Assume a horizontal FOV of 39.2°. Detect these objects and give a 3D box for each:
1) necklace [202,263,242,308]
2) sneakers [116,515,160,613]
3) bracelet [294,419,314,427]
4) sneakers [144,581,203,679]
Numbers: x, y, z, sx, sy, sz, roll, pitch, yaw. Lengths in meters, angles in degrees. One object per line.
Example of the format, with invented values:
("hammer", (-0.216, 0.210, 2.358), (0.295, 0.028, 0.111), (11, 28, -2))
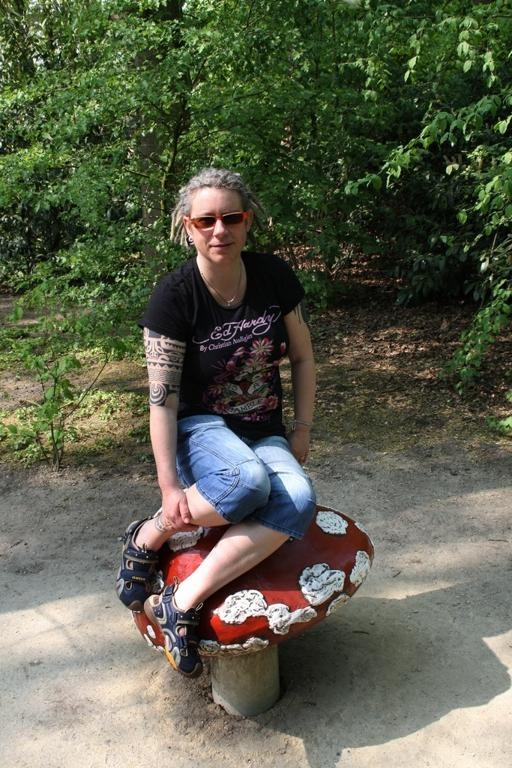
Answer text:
("necklace", (-0.097, -0.308, 2.246), (0.113, 0.139, 0.055), (-11, 12, -16))
("sneakers", (-0.391, 0.564, 2.327), (0.133, 0.313, 0.147), (11, -6, -12))
("bracelet", (0.172, 0.134, 2.574), (0.047, 0.021, 0.035), (10, 2, 4))
("sneakers", (-0.225, 0.711, 2.101), (0.110, 0.237, 0.214), (-9, 10, -26))
